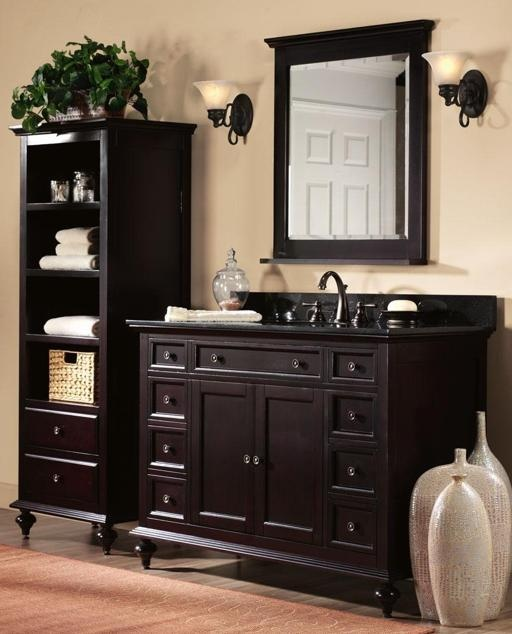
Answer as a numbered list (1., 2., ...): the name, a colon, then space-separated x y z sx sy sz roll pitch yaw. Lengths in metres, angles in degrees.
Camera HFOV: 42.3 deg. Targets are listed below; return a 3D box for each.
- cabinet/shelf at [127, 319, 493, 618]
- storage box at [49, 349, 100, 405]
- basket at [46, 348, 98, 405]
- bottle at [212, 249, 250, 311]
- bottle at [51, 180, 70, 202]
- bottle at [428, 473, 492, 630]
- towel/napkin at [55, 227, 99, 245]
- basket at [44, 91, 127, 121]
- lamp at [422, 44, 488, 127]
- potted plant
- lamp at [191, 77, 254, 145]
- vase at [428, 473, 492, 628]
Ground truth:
1. cabinet/shelf: 0.118 0.478 2.435 1.055 0.795 0.562 -1 -4 29
2. storage box: -0.791 0.277 3.034 0.278 0.242 0.162 2 0 31
3. basket: -0.778 0.277 3.033 0.318 0.242 0.180 -1 -1 34
4. bottle: -0.099 -0.150 2.775 0.173 0.258 0.166 0 12 0
5. bottle: -0.893 -0.572 3.019 0.107 0.107 0.103 4 10 18
6. bottle: 0.576 0.669 1.877 0.168 0.432 0.128 -1 -7 13
7. towel/napkin: -0.798 -0.363 2.975 0.126 0.041 0.118 0 0 16
8. basket: -0.751 -0.933 2.909 0.227 0.075 0.205 -4 -2 42
9. lamp: 0.675 -0.763 2.251 0.200 0.230 0.158 11 16 30
10. potted plant: -0.783 -1.061 3.006 0.531 0.271 0.522 -11 -2 26
11. lamp: -0.119 -0.880 2.909 0.293 0.317 0.238 -4 6 -43
12. vase: 0.576 0.669 1.877 0.168 0.432 0.128 -1 -7 13
